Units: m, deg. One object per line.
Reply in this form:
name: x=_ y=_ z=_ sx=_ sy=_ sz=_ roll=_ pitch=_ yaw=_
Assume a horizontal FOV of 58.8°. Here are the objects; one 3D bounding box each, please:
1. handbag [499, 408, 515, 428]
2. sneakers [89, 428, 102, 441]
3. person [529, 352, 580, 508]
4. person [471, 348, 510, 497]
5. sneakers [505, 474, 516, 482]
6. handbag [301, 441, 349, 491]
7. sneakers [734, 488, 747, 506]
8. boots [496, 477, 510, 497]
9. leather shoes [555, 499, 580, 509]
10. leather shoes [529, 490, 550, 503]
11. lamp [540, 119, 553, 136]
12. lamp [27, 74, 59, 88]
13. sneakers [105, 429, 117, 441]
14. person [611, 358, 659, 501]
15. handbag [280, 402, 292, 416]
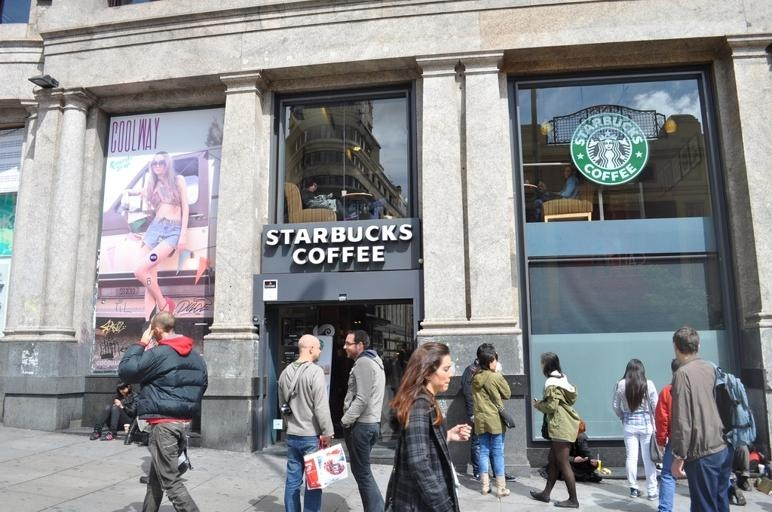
handbag: x=2.062 y=2.881 z=12.076 sx=0.360 sy=0.338 sz=0.126 roll=4 pitch=-35 yaw=-34
sneakers: x=-6.018 y=3.685 z=14.194 sx=0.229 sy=0.232 sz=0.215 roll=3 pitch=-10 yaw=-19
person: x=2.949 y=2.999 z=11.961 sx=0.782 sy=2.597 sz=0.820 roll=-2 pitch=-10 yaw=11
person: x=1.863 y=2.922 z=12.111 sx=0.626 sy=2.583 sz=0.719 roll=-1 pitch=-10 yaw=7
sneakers: x=2.327 y=4.178 z=12.913 sx=0.256 sy=0.102 sz=0.083 roll=0 pitch=-1 yaw=-2
handbag: x=-0.919 y=3.215 z=10.418 sx=0.376 sy=0.458 sz=0.713 roll=-26 pitch=-22 yaw=32
sneakers: x=6.134 y=4.175 z=11.868 sx=0.105 sy=0.270 sz=0.116 roll=-21 pitch=-23 yaw=-9
boots: x=2.048 y=4.035 z=12.011 sx=0.239 sy=0.352 sz=0.336 roll=-2 pitch=-9 yaw=8
leather shoes: x=3.060 y=4.134 z=11.518 sx=0.471 sy=0.190 sz=0.153 roll=2 pitch=-14 yaw=13
leather shoes: x=2.670 y=4.181 z=11.921 sx=0.145 sy=0.153 sz=0.377 roll=8 pitch=-10 yaw=-23
lamp: x=3.419 y=-2.725 z=14.598 sx=0.353 sy=0.327 sz=0.079 roll=3 pitch=-4 yaw=2
lamp: x=-7.716 y=-3.970 z=15.421 sx=0.424 sy=0.329 sz=0.487 roll=-4 pitch=-10 yaw=23
sneakers: x=-5.701 y=3.713 z=14.198 sx=0.213 sy=0.188 sz=0.176 roll=4 pitch=-10 yaw=-26
person: x=4.419 y=3.037 z=12.068 sx=0.735 sy=2.398 sz=0.755 roll=-4 pitch=-10 yaw=19
handbag: x=-1.525 y=2.355 z=10.599 sx=0.205 sy=0.182 sz=0.192 roll=-1 pitch=-1 yaw=-22
